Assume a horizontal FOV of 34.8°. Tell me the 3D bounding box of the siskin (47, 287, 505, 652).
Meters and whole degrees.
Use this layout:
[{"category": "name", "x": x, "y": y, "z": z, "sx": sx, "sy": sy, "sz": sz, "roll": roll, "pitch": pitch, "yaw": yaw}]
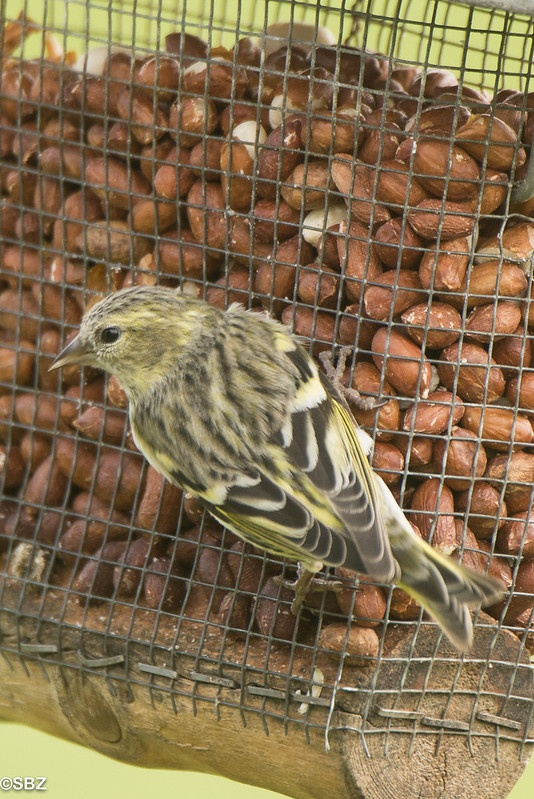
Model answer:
[{"category": "siskin", "x": 0.018, "y": 0.123, "z": 1.757, "sx": 0.917, "sy": 0.595, "sz": 0.385, "roll": 25, "pitch": 55, "yaw": 25}]
